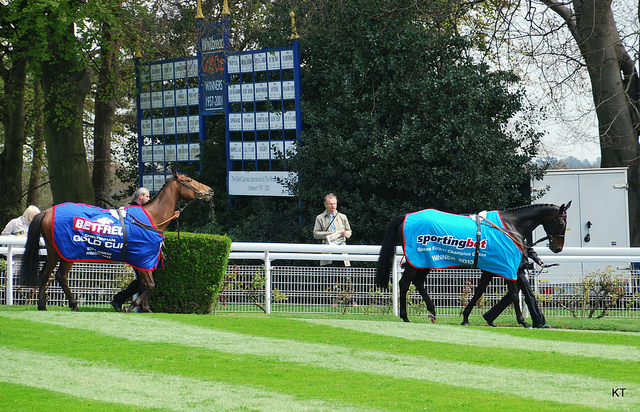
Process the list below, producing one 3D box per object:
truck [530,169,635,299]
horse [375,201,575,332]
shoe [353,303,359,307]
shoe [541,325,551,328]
[{"bbox_3d":[6.567,0.772,30.448,3.158,3.916,2.215,-1,-3,6],"label":"truck"},{"bbox_3d":[3.444,1.300,27.677,4.429,2.757,1.144,2,1,7],"label":"horse"},{"bbox_3d":[0.850,2.311,28.729,0.094,0.084,0.023,0,0,2],"label":"shoe"},{"bbox_3d":[5.075,2.707,27.477,0.381,0.055,0.026,4,-2,-42],"label":"shoe"}]
